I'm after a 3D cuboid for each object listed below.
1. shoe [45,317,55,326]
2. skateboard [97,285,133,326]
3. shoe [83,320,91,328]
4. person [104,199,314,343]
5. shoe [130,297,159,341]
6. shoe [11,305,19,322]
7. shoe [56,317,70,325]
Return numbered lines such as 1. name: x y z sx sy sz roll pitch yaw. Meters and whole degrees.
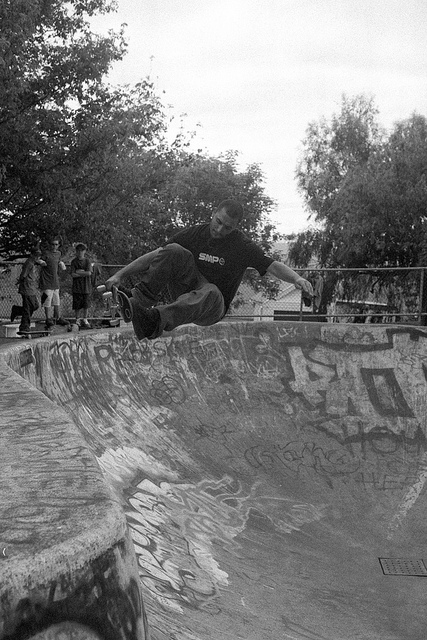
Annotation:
1. shoe: -2.684 0.039 9.101 0.108 0.133 0.119 0 -8 2
2. skateboard: -0.660 -0.086 3.702 0.193 0.255 0.153 2 -21 -27
3. shoe: -2.258 0.077 9.961 0.133 0.133 0.359 14 1 -5
4. person: -0.099 -0.489 4.133 1.124 0.632 1.324 19 34 3
5. shoe: -0.478 0.007 3.782 0.193 0.375 0.115 -3 30 -32
6. shoe: -3.318 -0.098 9.237 0.102 0.267 0.327 10 -20 -21
7. shoe: -2.543 0.027 9.459 0.288 0.147 0.107 3 6 28
